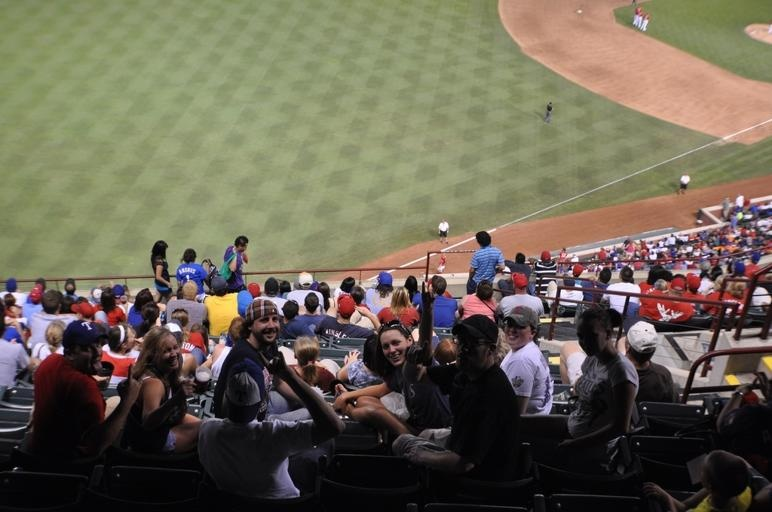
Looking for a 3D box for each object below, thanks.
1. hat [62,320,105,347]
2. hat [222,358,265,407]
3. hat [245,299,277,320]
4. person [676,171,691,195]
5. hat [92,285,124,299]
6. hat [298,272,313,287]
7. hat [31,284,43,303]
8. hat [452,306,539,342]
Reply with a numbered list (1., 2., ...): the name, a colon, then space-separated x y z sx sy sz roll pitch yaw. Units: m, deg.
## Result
1. hat: -3.107 0.792 6.436 0.382 0.196 0.262 -13 6 11
2. hat: -1.349 1.130 5.966 0.377 0.412 0.592 2 23 -11
3. hat: -1.264 0.560 6.480 0.305 0.205 0.207 3 -5 -3
4. person: 14.483 -3.541 30.276 0.571 1.136 2.026 -4 -6 27
5. hat: -6.245 0.817 14.105 0.422 0.172 0.611 -1 6 -17
6. hat: -1.713 0.503 13.417 0.306 0.306 0.383 -3 -5 -13
7. hat: -7.327 0.796 13.157 0.141 0.191 0.373 -3 39 -8
8. hat: 1.157 0.771 6.385 0.744 0.245 0.423 -11 6 -37
